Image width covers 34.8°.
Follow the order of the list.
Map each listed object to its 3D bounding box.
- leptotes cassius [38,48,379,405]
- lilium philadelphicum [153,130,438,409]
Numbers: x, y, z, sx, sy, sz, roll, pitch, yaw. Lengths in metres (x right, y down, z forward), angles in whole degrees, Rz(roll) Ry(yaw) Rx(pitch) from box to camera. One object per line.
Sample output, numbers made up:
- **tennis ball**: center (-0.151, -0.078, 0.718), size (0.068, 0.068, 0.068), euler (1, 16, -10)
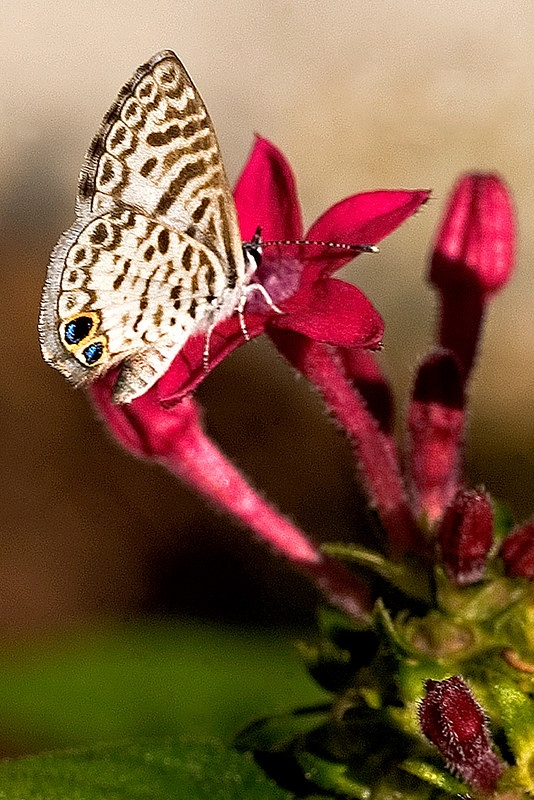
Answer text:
- **leptotes cassius**: center (-0.083, -0.126, 0.862), size (0.384, 0.236, 0.341), euler (-7, -5, 9)
- **lilium philadelphicum**: center (0.020, -0.093, 0.734), size (0.230, 0.238, 0.205), euler (-3, 34, -7)
